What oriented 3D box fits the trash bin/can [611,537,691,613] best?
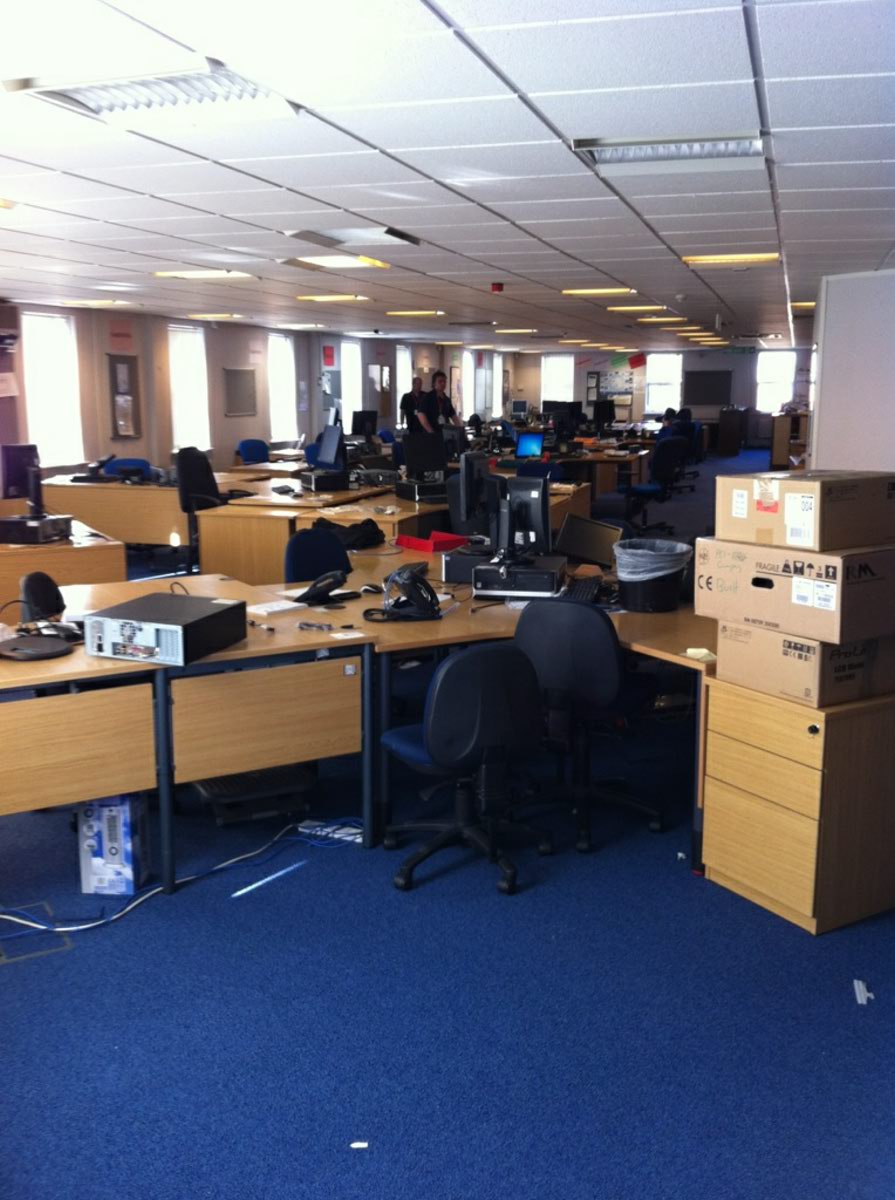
[{"bbox_3d":[0.817,-0.092,3.622,0.312,0.244,0.316,4,8,39],"label":"trash bin/can"}]

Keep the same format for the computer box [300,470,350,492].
[{"bbox_3d":[-0.960,-0.933,6.986,0.235,0.147,0.235,11,15,41],"label":"computer box"}]

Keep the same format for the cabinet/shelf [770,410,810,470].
[{"bbox_3d":[6.143,-2.900,16.177,0.495,1.015,1.312,2,8,15],"label":"cabinet/shelf"}]
